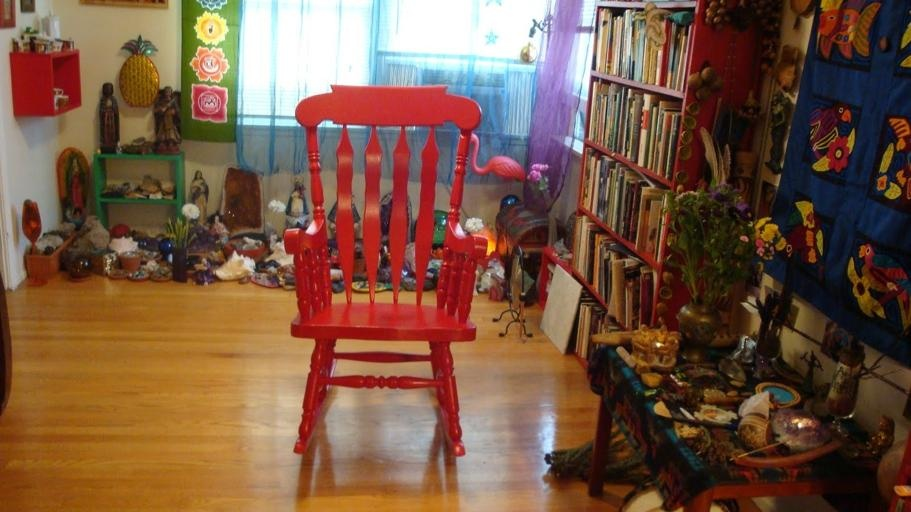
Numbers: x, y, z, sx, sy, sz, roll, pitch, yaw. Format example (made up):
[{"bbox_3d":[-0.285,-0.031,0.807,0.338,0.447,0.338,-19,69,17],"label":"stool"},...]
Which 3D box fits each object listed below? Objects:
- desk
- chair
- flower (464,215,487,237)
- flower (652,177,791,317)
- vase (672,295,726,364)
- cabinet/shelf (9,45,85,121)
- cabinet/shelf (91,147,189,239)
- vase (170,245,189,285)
[{"bbox_3d":[1.319,0.890,3.222,0.960,0.585,0.947,5,21,-23],"label":"desk"},{"bbox_3d":[-0.426,-0.001,4.265,1.127,2.102,1.437,-1,15,-4],"label":"chair"},{"bbox_3d":[0.163,-0.262,5.716,0.207,0.211,0.085,13,-15,0],"label":"flower"},{"bbox_3d":[1.392,0.012,3.503,0.608,0.600,0.507,2,4,-37],"label":"flower"},{"bbox_3d":[1.285,0.394,3.538,0.222,0.293,0.222,0,15,-5],"label":"vase"},{"bbox_3d":[-3.257,-1.381,5.312,0.336,0.493,0.617,2,20,-2],"label":"cabinet/shelf"},{"bbox_3d":[-2.760,-0.576,5.854,0.807,0.757,0.287,0,4,-8],"label":"cabinet/shelf"},{"bbox_3d":[-2.236,0.069,5.549,0.198,0.297,0.179,1,-2,-35],"label":"vase"}]
